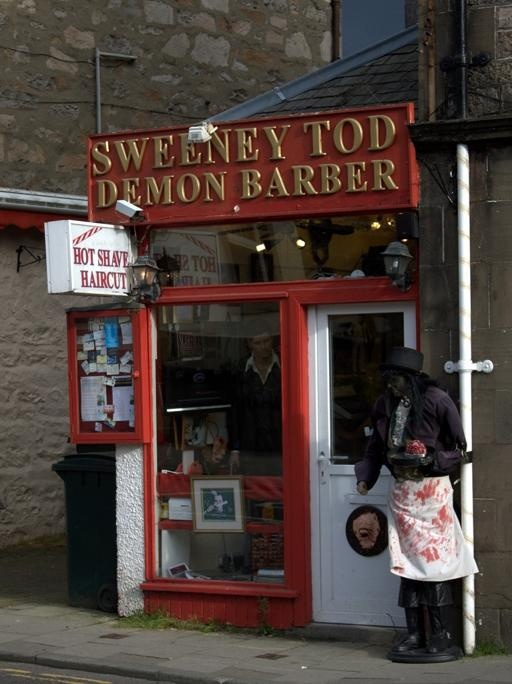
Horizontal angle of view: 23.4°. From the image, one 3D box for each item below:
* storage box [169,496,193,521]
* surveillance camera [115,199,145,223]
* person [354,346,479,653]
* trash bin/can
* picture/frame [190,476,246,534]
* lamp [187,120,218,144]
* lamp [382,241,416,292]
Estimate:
[{"bbox_3d":[-0.542,1.224,9.118,0.220,0.155,0.110,1,1,18],"label":"storage box"},{"bbox_3d":[-0.935,-0.964,9.136,0.212,0.156,0.177,-2,-1,-2],"label":"surveillance camera"},{"bbox_3d":[1.016,1.001,7.886,0.720,1.922,0.498,-3,-2,23],"label":"person"},{"bbox_3d":[-1.315,1.468,9.712,0.640,1.005,0.623,-2,-5,18],"label":"trash bin/can"},{"bbox_3d":[-0.252,1.187,8.981,0.506,0.419,0.034,-2,-7,22],"label":"picture/frame"},{"bbox_3d":[-0.389,-1.504,8.952,0.146,0.080,0.185,-9,21,24],"label":"lamp"},{"bbox_3d":[0.962,-0.507,8.305,0.200,0.334,0.255,-2,-1,6],"label":"lamp"}]
